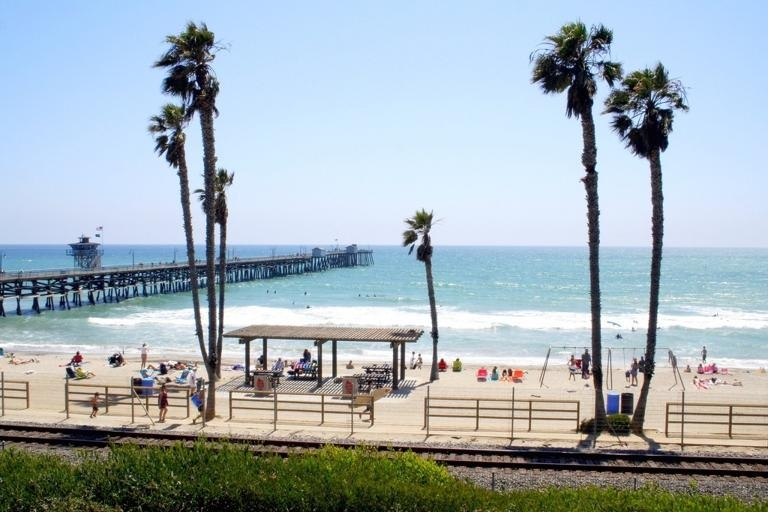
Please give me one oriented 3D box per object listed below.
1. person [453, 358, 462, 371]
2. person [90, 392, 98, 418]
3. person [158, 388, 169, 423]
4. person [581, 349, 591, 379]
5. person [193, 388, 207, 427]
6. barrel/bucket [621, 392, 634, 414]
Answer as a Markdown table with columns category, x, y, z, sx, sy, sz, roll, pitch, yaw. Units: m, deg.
| category | x | y | z | sx | sy | sz | roll | pitch | yaw |
| --- | --- | --- | --- | --- | --- | --- | --- | --- | --- |
| person | 3.848 | 5.745 | 46.433 | 0.520 | 0.715 | 0.508 | -1 | 4 | -20 |
| person | -10.794 | 5.409 | 32.398 | 0.295 | 0.882 | 1.572 | -1 | -1 | -19 |
| person | -8.153 | 5.337 | 32.086 | 0.305 | 1.287 | 1.169 | -1 | -1 | -14 |
| person | 10.211 | 5.375 | 44.414 | 0.420 | 1.595 | 1.477 | -1 | -1 | 12 |
| person | -6.840 | 5.328 | 31.891 | 0.505 | 1.303 | 2.336 | -1 | -1 | -13 |
| barrel/bucket | 9.156 | 5.572 | 33.053 | 0.419 | 0.745 | 0.812 | -1 | -1 | 6 |
